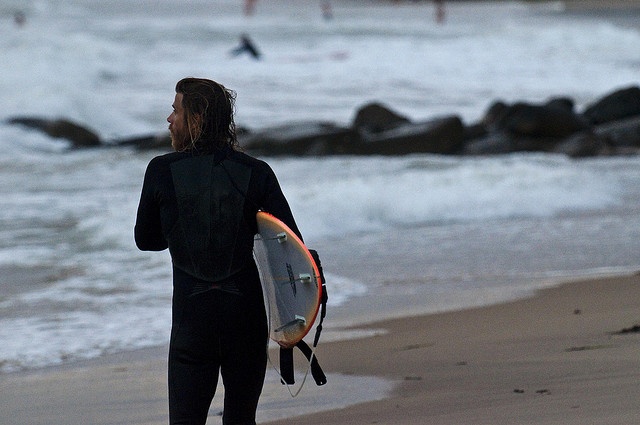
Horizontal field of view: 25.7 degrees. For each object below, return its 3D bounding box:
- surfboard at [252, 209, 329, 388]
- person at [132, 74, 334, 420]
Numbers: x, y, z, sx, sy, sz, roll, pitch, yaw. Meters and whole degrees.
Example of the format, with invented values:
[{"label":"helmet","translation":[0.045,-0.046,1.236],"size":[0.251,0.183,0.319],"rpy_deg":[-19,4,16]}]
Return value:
[{"label":"surfboard","translation":[-0.238,0.665,10.980],"size":[0.579,1.350,0.232],"rpy_deg":[-5,1,30]},{"label":"person","translation":[-0.720,0.281,10.911],"size":[1.365,2.544,1.002],"rpy_deg":[-9,21,-8]}]
